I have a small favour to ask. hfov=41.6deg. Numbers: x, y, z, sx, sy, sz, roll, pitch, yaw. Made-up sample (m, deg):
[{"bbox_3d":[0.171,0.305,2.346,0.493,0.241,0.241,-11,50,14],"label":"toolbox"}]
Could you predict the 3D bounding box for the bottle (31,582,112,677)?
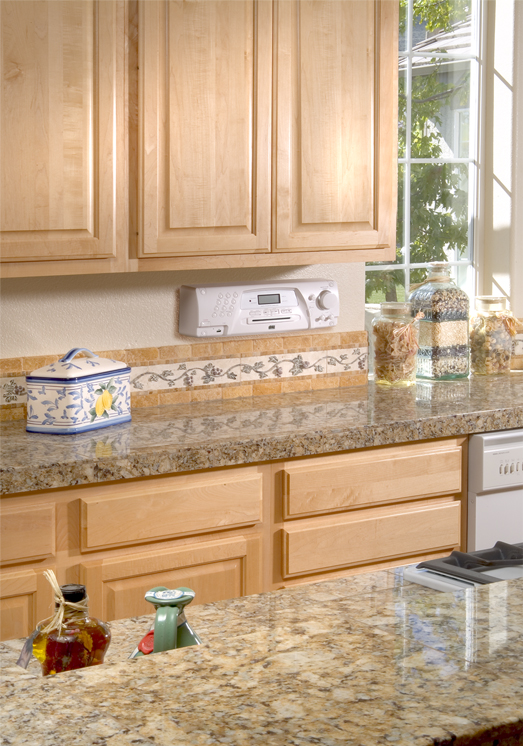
[{"bbox_3d":[-0.191,0.268,0.695,0.074,0.092,0.053,7,-15,-39],"label":"bottle"}]
